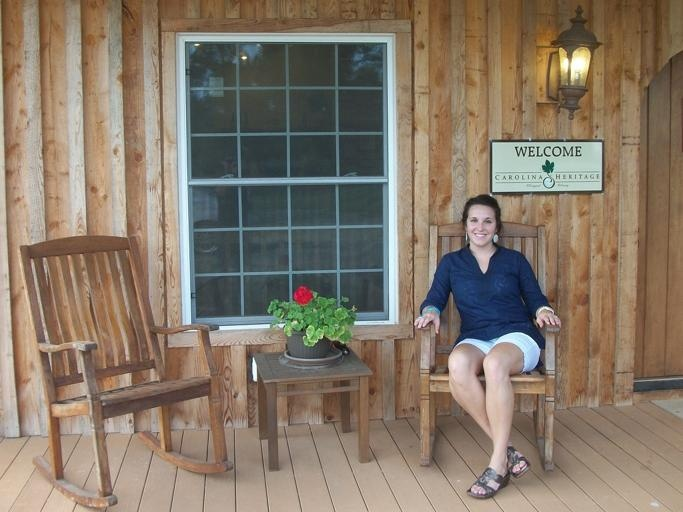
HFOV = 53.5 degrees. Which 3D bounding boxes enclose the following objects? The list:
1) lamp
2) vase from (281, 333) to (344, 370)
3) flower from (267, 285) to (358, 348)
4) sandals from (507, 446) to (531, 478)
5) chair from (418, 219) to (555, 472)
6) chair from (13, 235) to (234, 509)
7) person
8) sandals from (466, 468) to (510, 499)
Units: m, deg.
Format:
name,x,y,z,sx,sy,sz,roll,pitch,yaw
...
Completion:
name,x,y,z,sx,sy,sz,roll,pitch,yaw
lamp,1.551,-1.294,4.542,0.332,0.715,0.205,5,16,20
vase,-0.200,0.602,4.221,0.251,0.114,0.257,2,3,31
flower,-0.185,0.395,4.214,0.537,0.428,0.321,0,15,0
sandals,1.012,1.175,3.876,0.082,0.079,0.216,-45,0,8
chair,0.912,0.542,4.268,0.881,1.471,0.897,2,5,25
chair,-1.309,0.614,3.966,0.932,1.344,0.917,-11,18,-36
person,0.889,0.455,4.127,0.815,1.526,1.115,2,15,8
sandals,0.827,1.262,3.841,0.288,0.118,0.106,-7,3,-40
